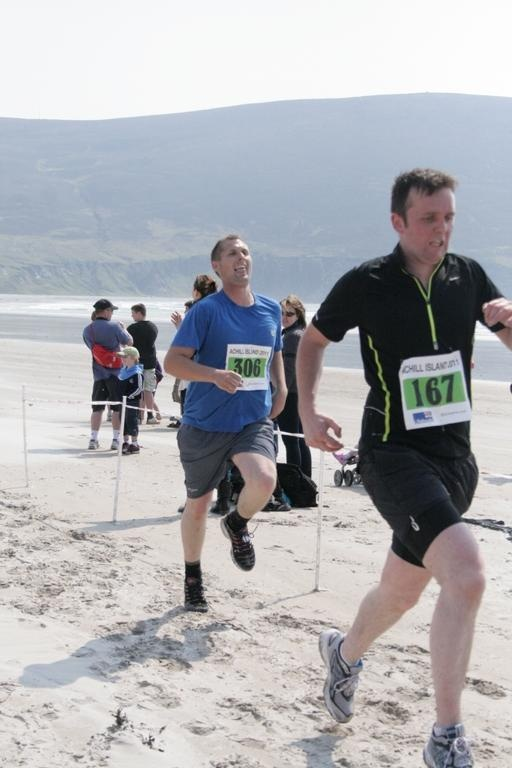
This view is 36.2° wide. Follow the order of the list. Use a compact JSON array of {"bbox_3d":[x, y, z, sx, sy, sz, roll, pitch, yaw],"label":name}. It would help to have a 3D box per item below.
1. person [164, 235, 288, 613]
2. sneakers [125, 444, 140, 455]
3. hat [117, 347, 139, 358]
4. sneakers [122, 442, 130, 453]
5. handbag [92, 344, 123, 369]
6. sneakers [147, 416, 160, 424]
[{"bbox_3d":[-0.170,0.165,3.850,0.582,1.513,0.957,7,2,-1],"label":"person"},{"bbox_3d":[-1.424,0.750,9.125,0.066,0.066,0.173,3,6,10],"label":"sneakers"},{"bbox_3d":[-1.546,-0.389,9.489,0.221,0.100,0.150,17,-5,-23],"label":"hat"},{"bbox_3d":[-1.517,0.740,9.058,0.073,0.101,0.221,6,2,-12],"label":"sneakers"},{"bbox_3d":[-1.825,-0.351,9.729,0.384,0.318,0.250,-7,11,-7],"label":"handbag"},{"bbox_3d":[-1.560,0.548,11.692,0.236,0.089,0.083,-4,-3,44],"label":"sneakers"}]
